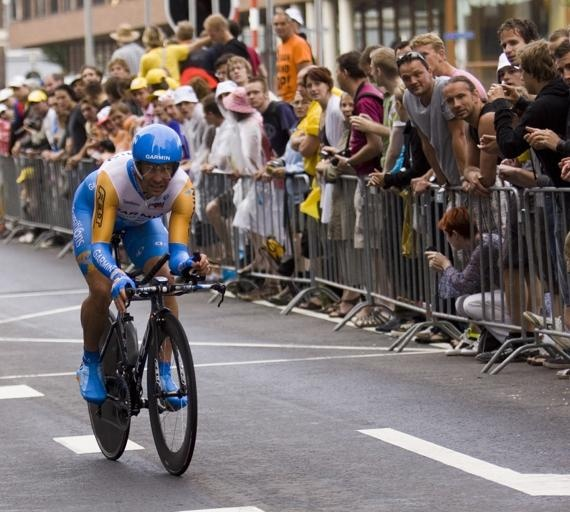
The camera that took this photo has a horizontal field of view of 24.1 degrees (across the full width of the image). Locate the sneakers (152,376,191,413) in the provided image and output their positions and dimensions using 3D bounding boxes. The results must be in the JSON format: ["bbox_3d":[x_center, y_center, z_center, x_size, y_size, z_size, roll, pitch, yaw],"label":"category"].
[{"bbox_3d":[-0.661,0.792,7.612,0.102,0.221,0.165,-44,2,-14],"label":"sneakers"}]

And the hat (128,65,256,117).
[{"bbox_3d":[-1.361,-2.080,16.535,1.034,0.439,0.761,1,3,-19],"label":"hat"}]

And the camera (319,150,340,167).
[{"bbox_3d":[0.403,-0.896,12.207,0.076,0.081,0.245,-12,19,-9],"label":"camera"}]

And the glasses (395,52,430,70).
[{"bbox_3d":[1.033,-1.558,10.667,0.263,0.131,0.210,-5,8,-21],"label":"glasses"}]

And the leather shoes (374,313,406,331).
[{"bbox_3d":[0.959,0.584,11.825,0.317,0.128,0.104,-7,6,-6],"label":"leather shoes"}]

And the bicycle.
[{"bbox_3d":[-0.766,0.622,7.828,0.462,1.216,1.149,-7,9,-29],"label":"bicycle"}]

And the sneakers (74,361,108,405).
[{"bbox_3d":[-1.183,0.767,8.129,0.115,0.132,0.309,-13,35,-23],"label":"sneakers"}]

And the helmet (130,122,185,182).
[{"bbox_3d":[-0.753,-0.610,7.758,0.278,0.295,0.237,-3,8,-6],"label":"helmet"}]

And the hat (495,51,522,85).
[{"bbox_3d":[1.953,-1.614,11.655,0.269,0.203,0.421,-2,-6,7],"label":"hat"}]
